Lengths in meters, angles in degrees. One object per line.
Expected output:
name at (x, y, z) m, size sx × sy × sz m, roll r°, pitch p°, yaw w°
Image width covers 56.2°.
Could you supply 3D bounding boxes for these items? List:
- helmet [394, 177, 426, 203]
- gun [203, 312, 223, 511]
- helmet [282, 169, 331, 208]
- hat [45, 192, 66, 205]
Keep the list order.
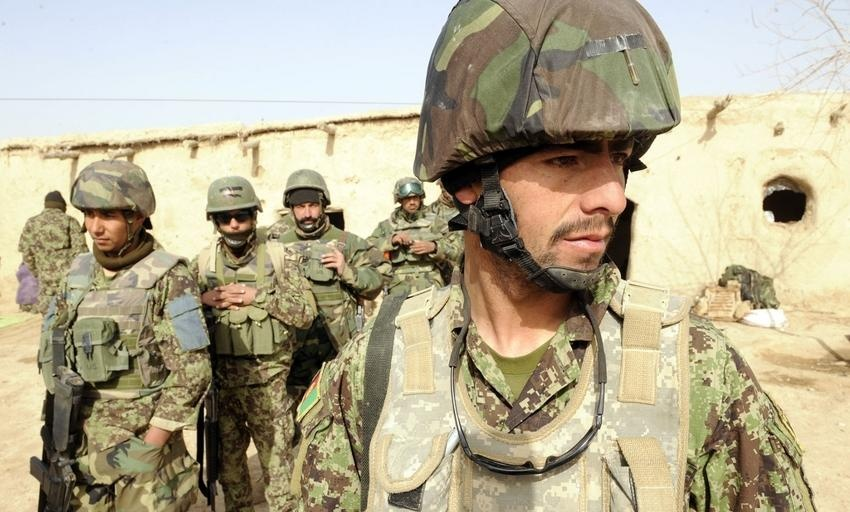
helmet at (-0.330, -1.178, 14.504) m, size 0.439 × 0.397 × 0.477 m, roll -2°, pitch -2°, yaw -9°
gun at (-2.750, 1.959, 10.374) m, size 0.198 × 2.686 × 0.928 m, roll -1°, pitch -1°, yaw -7°
helmet at (-1.752, -1.005, 11.969) m, size 0.535 × 0.473 × 0.600 m, roll -2°, pitch 6°, yaw 0°
hat at (-7.523, -1.162, 16.233) m, size 0.325 × 0.342 × 0.463 m, roll -1°, pitch -1°, yaw -15°
